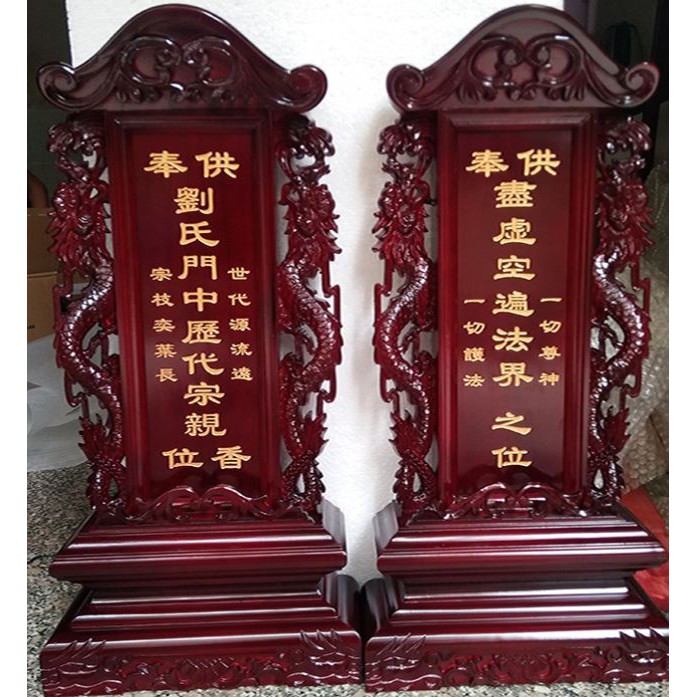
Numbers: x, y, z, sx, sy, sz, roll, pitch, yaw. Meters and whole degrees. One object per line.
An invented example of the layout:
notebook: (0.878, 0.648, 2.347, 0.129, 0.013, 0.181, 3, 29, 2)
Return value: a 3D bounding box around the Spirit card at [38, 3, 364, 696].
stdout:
Spirit card: (-0.441, 0.027, 2.204, 0.910, 1.787, 0.292, -5, 6, -1)
